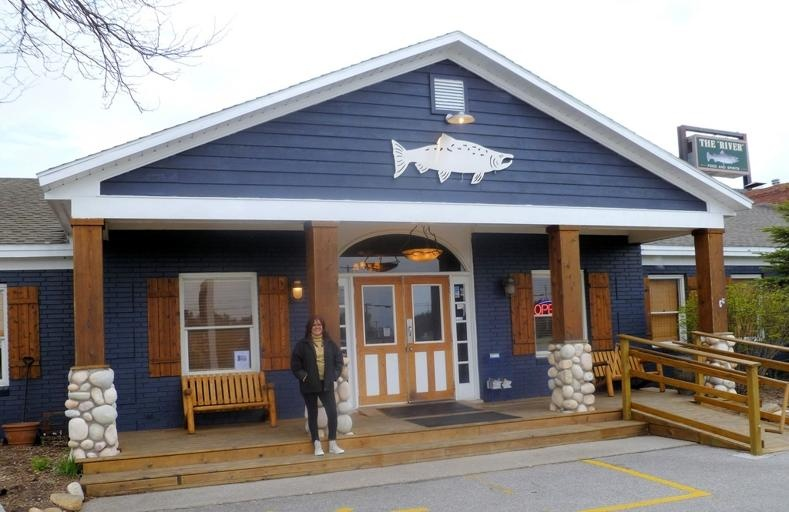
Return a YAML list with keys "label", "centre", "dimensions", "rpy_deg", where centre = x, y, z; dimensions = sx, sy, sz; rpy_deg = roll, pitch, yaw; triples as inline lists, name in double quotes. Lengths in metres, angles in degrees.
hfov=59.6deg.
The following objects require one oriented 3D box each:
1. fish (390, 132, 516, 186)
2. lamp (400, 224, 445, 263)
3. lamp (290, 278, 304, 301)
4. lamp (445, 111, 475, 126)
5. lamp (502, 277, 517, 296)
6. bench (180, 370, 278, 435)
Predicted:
- label: "fish"
  centre: [1.038, -1.749, 12.546]
  dimensions: [2.268, 0.896, 0.256]
  rpy_deg: [-4, 11, -16]
- label: "lamp"
  centre: [0.582, -0.265, 14.309]
  dimensions: [0.938, 0.697, 0.822]
  rpy_deg: [2, -5, -10]
- label: "lamp"
  centre: [-1.919, 0.666, 13.589]
  dimensions: [0.174, 0.403, 0.214]
  rpy_deg: [6, 13, 36]
- label: "lamp"
  centre: [1.226, -2.501, 12.585]
  dimensions: [0.577, 0.239, 0.397]
  rpy_deg: [-3, 9, -14]
- label: "lamp"
  centre: [2.468, 0.630, 14.817]
  dimensions: [0.196, 0.407, 0.275]
  rpy_deg: [5, 12, 31]
- label: "bench"
  centre: [-3.092, 2.616, 12.735]
  dimensions: [1.599, 0.821, 1.111]
  rpy_deg: [-4, 10, -16]
